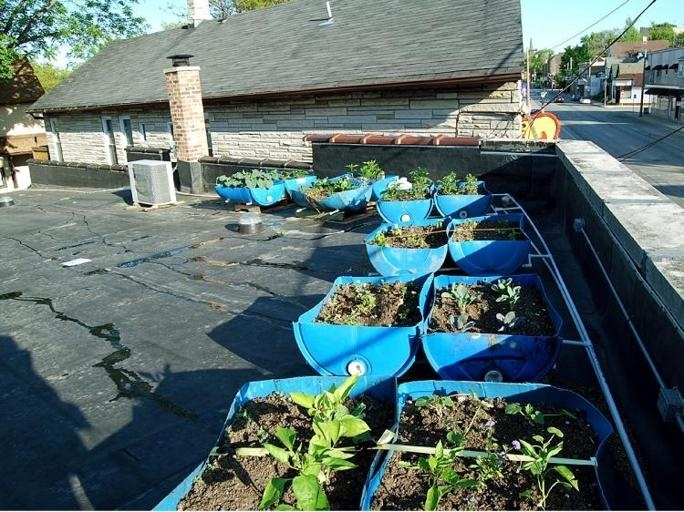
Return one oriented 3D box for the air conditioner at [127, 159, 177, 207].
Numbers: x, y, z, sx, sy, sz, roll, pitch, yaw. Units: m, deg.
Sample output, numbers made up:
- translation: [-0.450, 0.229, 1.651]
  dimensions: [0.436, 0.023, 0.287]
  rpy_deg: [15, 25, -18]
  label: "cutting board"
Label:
- translation: [-5.217, -2.043, 12.701]
  dimensions: [0.707, 0.854, 1.205]
  rpy_deg: [-19, 22, -40]
  label: "air conditioner"
